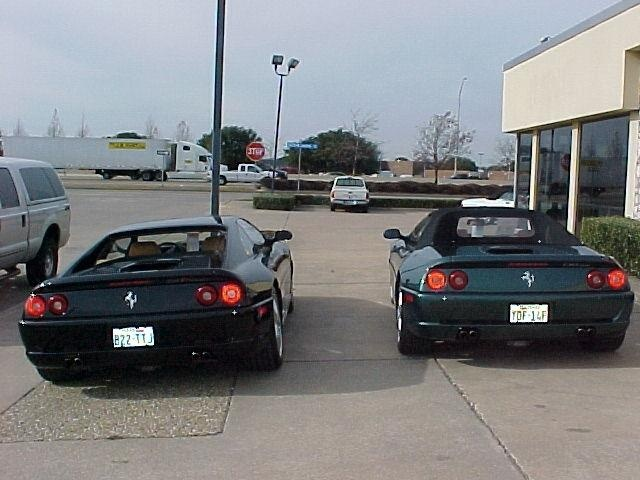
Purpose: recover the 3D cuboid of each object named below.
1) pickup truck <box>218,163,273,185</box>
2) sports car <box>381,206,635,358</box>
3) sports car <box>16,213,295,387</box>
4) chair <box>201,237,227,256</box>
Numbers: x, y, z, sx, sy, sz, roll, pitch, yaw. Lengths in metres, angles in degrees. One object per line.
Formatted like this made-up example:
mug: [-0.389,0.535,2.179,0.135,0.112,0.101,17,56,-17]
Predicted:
pickup truck: [-7.427,-6.352,53.069,4.913,1.843,3.201,-3,7,-21]
sports car: [2.014,0.448,5.970,2.364,1.559,1.561,0,7,9]
sports car: [-1.541,0.587,5.445,2.535,1.501,1.735,-3,7,-20]
chair: [-1.138,0.051,5.844,0.266,0.212,0.265,5,-5,-6]
